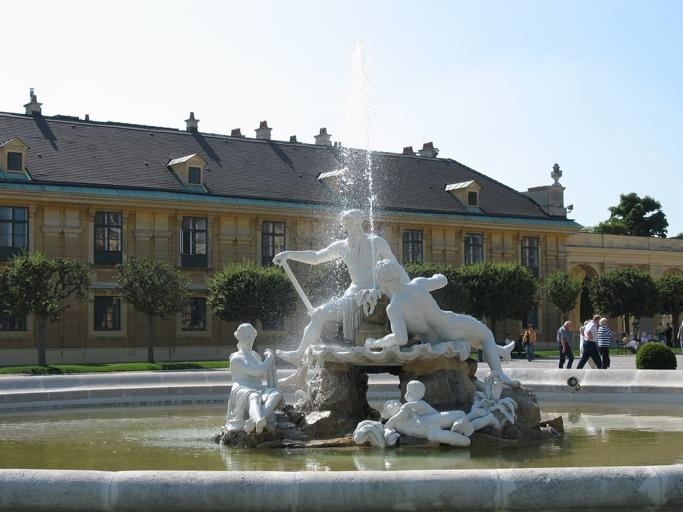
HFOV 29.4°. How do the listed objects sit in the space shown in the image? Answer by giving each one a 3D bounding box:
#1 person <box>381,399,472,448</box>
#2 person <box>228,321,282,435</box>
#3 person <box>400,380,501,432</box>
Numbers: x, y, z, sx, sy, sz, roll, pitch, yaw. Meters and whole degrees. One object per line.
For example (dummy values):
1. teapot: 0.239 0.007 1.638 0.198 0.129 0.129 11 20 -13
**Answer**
1. person: 1.539 2.926 22.690 1.188 0.480 0.762 7 -27 3
2. person: -1.594 2.156 23.244 0.992 1.869 1.246 -1 -2 -7
3. person: 1.882 2.617 22.648 1.706 0.874 0.788 1 -12 4
